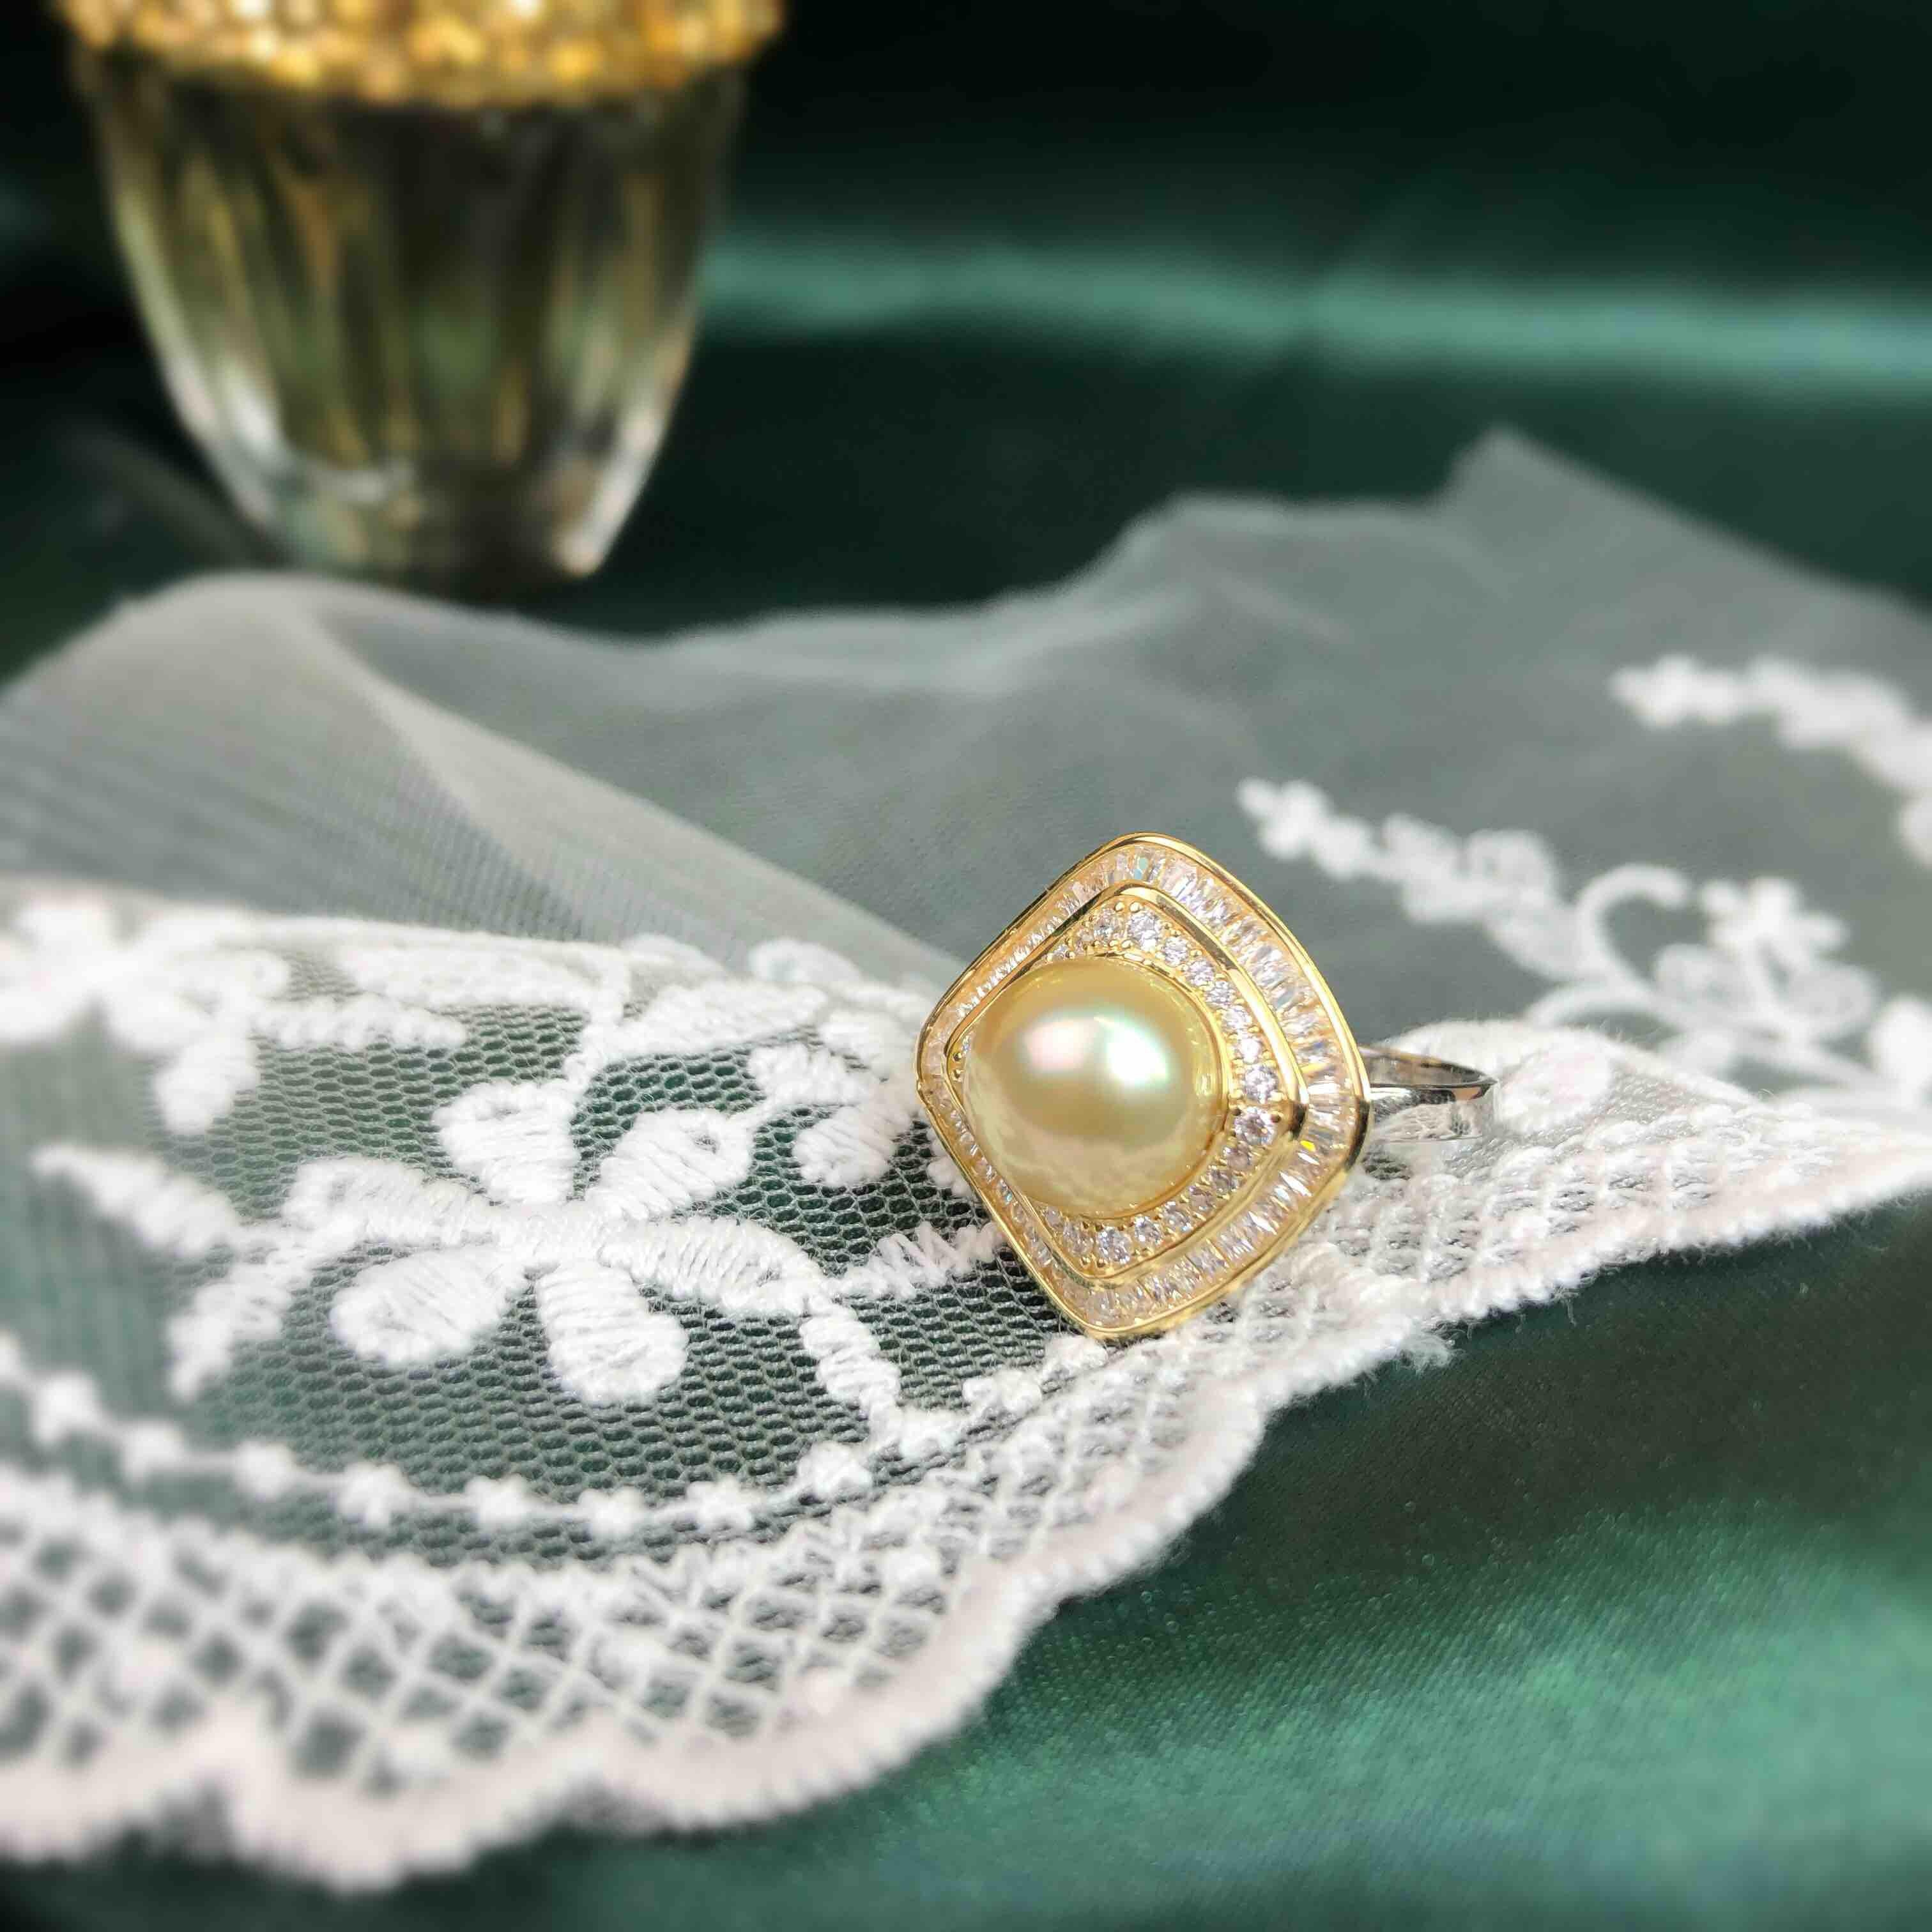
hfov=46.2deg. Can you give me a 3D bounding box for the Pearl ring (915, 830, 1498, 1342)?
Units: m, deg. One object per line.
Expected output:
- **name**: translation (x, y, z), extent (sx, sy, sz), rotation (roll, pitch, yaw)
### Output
- **Pearl ring**: translation (0.069, 0.040, 0.779), extent (0.183, 0.211, 0.122), rotation (-7, 85, 43)

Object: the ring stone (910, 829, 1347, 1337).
- **ring stone**: translation (0.062, 0.040, 0.795), extent (0.137, 0.083, 0.170), rotation (-27, 81, -5)
